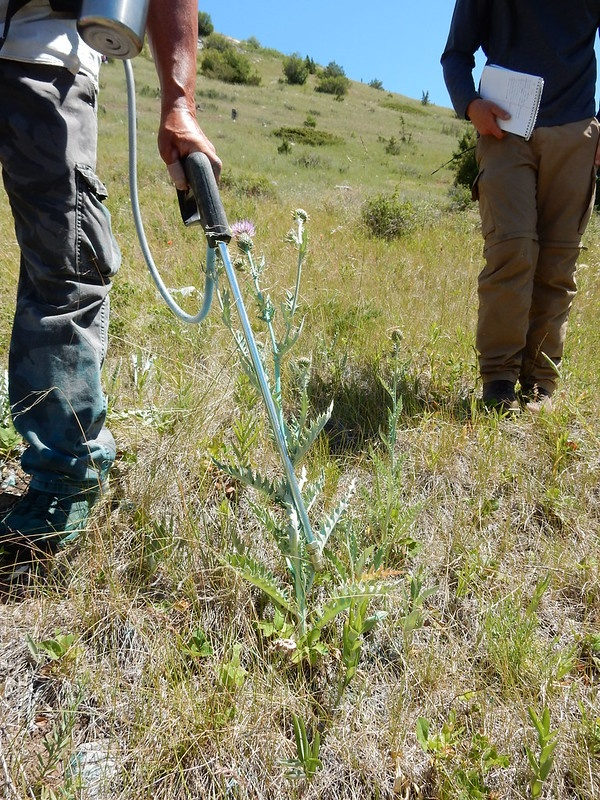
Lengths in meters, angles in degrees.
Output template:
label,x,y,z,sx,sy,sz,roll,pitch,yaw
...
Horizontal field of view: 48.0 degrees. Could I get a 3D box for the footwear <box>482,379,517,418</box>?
label,x,y,z,sx,sy,sz,roll,pitch,yaw
footwear,0.807,0.000,2.748,0.076,0.118,0.242,-2,-8,4
